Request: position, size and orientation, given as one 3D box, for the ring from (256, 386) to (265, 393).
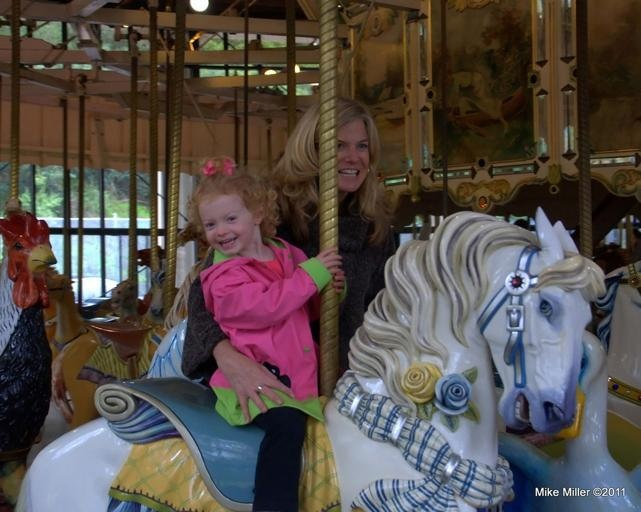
[{"bbox_3d":[-0.195,0.437,2.361,0.023,0.023,0.007,-1,3,25],"label":"ring"}]
